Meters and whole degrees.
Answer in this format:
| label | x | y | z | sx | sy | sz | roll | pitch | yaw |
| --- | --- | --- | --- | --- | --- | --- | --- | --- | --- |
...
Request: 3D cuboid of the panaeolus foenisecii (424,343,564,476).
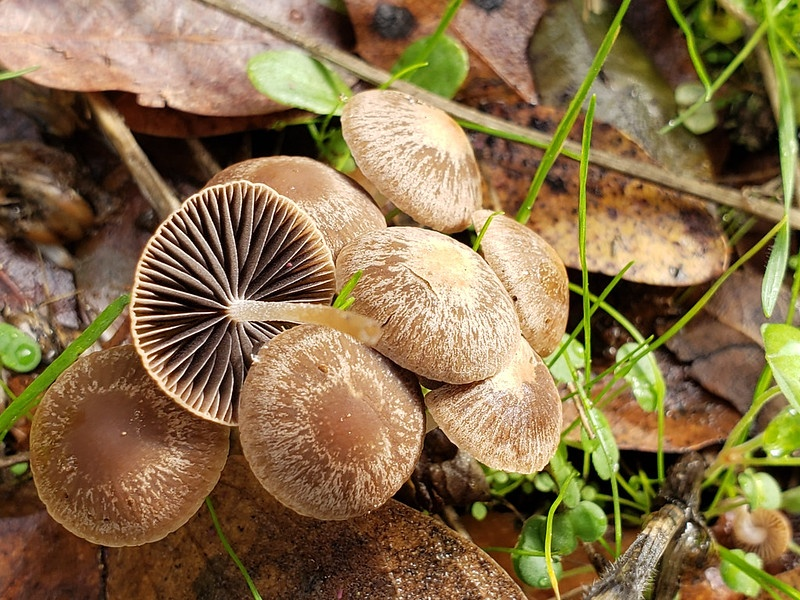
| label | x | y | z | sx | sy | sz | roll | pitch | yaw |
| --- | --- | --- | --- | --- | --- | --- | --- | --- | --- |
| panaeolus foenisecii | 0.361 | 0.365 | 2.967 | 0.564 | 0.157 | 0.549 | 6 | 46 | -24 |
